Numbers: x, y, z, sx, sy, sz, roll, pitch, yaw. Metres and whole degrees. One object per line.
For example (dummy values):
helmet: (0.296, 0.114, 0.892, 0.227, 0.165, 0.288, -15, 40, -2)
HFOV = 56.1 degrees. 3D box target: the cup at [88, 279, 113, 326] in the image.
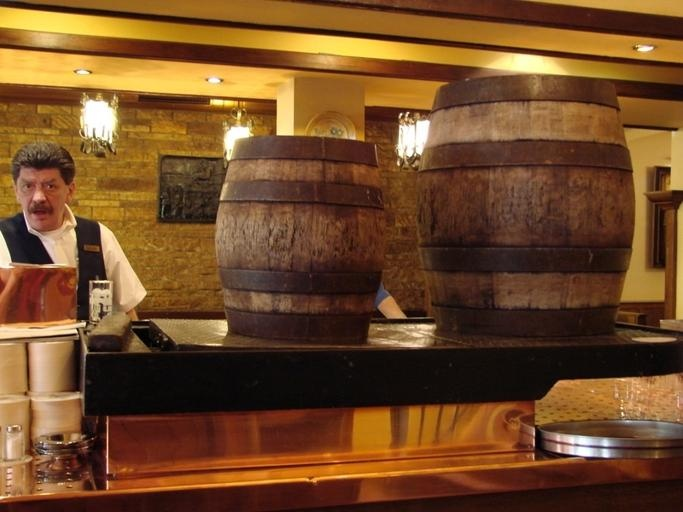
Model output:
cup: (-0.614, 0.113, 1.638, 0.050, 0.089, 0.169, -2, 13, -22)

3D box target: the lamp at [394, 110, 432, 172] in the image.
lamp: (0.660, -0.990, 5.477, 0.330, 0.417, 0.309, 3, 8, 6)

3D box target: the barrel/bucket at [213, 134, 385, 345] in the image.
barrel/bucket: (-0.036, -0.026, 1.243, 0.407, 0.353, 0.365, 0, -2, 1)
